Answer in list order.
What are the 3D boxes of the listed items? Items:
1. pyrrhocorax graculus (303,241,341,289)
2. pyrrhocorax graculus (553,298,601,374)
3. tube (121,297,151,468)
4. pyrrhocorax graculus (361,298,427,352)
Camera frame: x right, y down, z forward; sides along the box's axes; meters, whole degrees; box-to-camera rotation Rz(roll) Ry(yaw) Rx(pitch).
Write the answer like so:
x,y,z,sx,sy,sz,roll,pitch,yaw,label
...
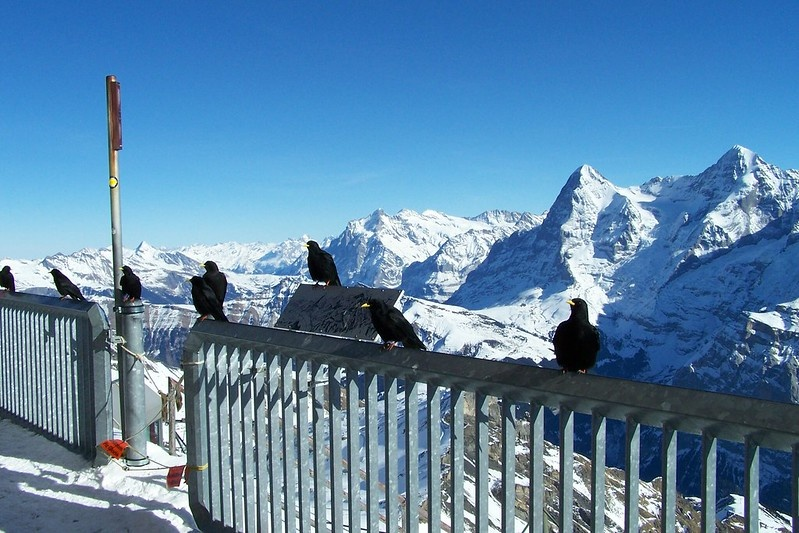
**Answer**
x,y,z,sx,sy,sz,roll,pitch,yaw,label
-1.343,-0.011,14.955,0.473,0.866,1.046,8,4,43,pyrrhocorax graculus
2.462,0.930,11.798,0.692,1.177,0.699,2,11,5,pyrrhocorax graculus
-4.780,2.104,14.966,0.396,2.906,0.539,-1,5,-36,tube
-0.083,0.839,12.099,1.061,0.717,0.504,1,-3,-36,pyrrhocorax graculus
